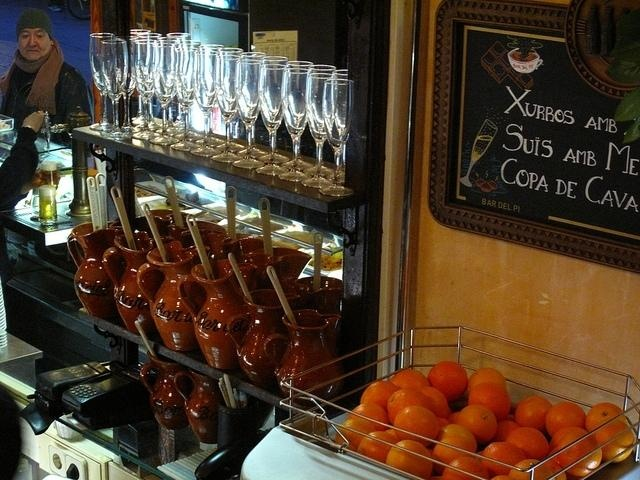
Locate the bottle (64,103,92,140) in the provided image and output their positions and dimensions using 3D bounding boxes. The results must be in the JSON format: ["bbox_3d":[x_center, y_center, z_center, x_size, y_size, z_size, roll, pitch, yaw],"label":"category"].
[{"bbox_3d":[-1.158,-0.575,2.704,0.122,0.144,0.096,-4,20,-22],"label":"bottle"}]

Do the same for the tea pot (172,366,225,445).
[{"bbox_3d":[-0.309,0.453,1.523,0.145,0.183,0.129,-1,-2,-26],"label":"tea pot"}]

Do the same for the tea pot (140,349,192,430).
[{"bbox_3d":[-0.399,0.430,1.612,0.212,0.205,0.160,1,3,-15],"label":"tea pot"}]

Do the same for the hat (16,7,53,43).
[{"bbox_3d":[-1.383,-1.061,2.752,0.151,0.107,0.142,-2,26,-4],"label":"hat"}]
